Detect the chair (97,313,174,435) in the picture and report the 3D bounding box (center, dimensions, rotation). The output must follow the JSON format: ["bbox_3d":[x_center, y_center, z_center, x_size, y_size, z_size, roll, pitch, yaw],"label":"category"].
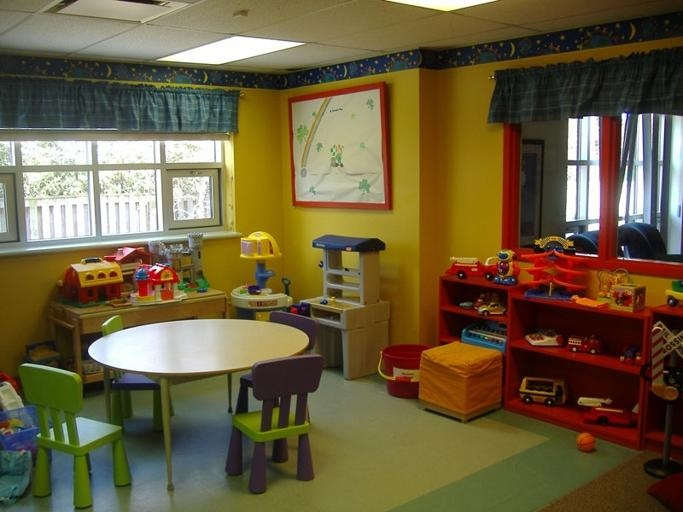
[{"bbox_3d":[-1.614,0.913,4.401,0.636,0.886,0.657,-1,3,20],"label":"chair"}]

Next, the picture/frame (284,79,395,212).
[{"bbox_3d":[-0.029,-1.127,5.810,0.149,1.254,1.466,-13,17,-43],"label":"picture/frame"}]

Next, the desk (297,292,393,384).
[{"bbox_3d":[0.056,0.811,5.583,0.569,0.664,0.730,-5,6,-34],"label":"desk"}]

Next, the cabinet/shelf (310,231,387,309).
[{"bbox_3d":[0.077,0.135,5.507,0.405,0.658,0.694,-8,9,-41],"label":"cabinet/shelf"}]

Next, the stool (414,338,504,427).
[{"bbox_3d":[1.004,0.988,4.559,0.598,0.499,0.592,-5,6,-38],"label":"stool"}]

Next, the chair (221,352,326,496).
[{"bbox_3d":[-0.463,1.068,3.668,0.623,0.790,0.618,1,-1,-9],"label":"chair"}]

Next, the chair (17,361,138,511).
[{"bbox_3d":[-1.746,1.106,3.539,0.557,0.880,0.398,5,14,28],"label":"chair"}]

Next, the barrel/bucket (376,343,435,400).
[{"bbox_3d":[0.564,1.030,4.991,0.447,0.322,0.451,-1,4,0],"label":"barrel/bucket"}]

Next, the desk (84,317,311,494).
[{"bbox_3d":[-1.053,0.763,3.817,1.197,0.638,1.212,5,8,44],"label":"desk"}]

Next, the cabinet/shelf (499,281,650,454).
[{"bbox_3d":[1.847,0.885,4.283,1.185,1.069,0.389,4,5,43],"label":"cabinet/shelf"}]
